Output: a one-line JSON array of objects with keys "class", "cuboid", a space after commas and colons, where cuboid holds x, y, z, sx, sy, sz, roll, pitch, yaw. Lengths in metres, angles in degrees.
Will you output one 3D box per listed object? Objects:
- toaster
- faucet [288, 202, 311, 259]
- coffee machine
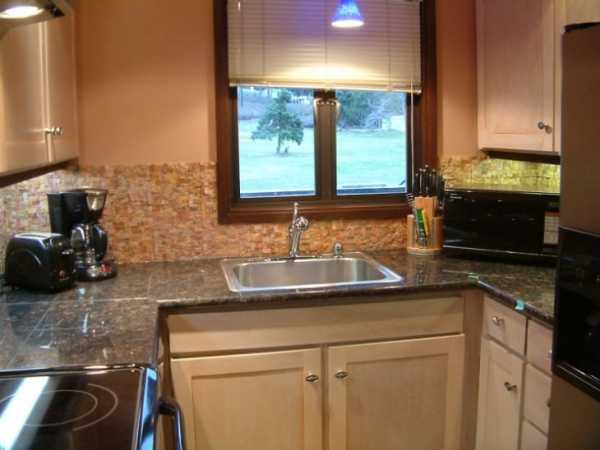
[{"class": "toaster", "cuboid": [-1.155, 0.169, 2.116, 0.302, 0.244, 0.122, -2, 10, -9]}, {"class": "faucet", "cuboid": [-0.010, 0.019, 2.802, 0.121, 0.320, 0.245, -1, 10, 1]}, {"class": "coffee machine", "cuboid": [-1.080, 0.042, 2.427, 0.293, 0.430, 0.235, 4, 7, 30]}]
